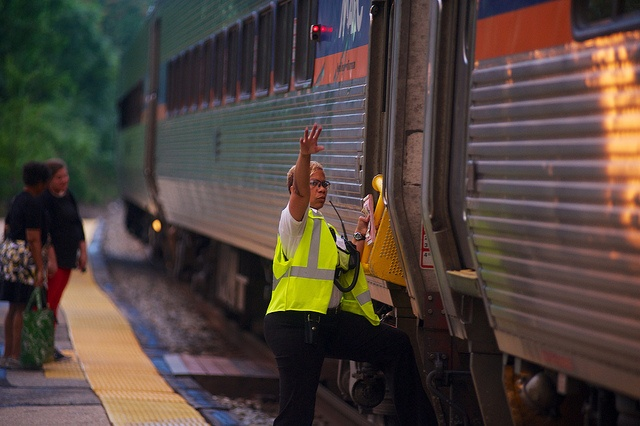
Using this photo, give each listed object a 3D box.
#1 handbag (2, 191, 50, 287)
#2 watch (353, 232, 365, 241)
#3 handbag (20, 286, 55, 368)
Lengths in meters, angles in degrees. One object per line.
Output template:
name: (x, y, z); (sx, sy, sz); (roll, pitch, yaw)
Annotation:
handbag: (-3.543, 0.211, 6.071); (0.489, 0.900, 0.925); (9, -1, -30)
watch: (0.320, 0.197, 4.181); (0.067, 0.073, 0.068); (-2, 10, -1)
handbag: (-3.386, 1.376, 5.995); (0.352, 1.079, 0.182); (7, -2, -27)
